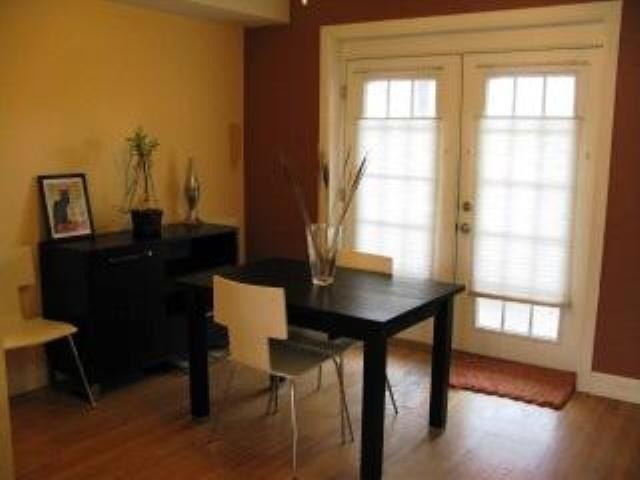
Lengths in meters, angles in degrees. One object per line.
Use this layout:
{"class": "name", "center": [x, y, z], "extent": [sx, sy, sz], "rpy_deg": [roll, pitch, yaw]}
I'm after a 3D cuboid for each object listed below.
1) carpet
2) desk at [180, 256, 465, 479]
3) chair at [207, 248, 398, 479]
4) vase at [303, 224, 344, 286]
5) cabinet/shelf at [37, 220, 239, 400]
{"class": "carpet", "center": [1.427, 1.053, 3.994], "extent": [0.602, 0.094, 0.382], "rpy_deg": [4, 11, 36]}
{"class": "desk", "center": [0.054, 0.409, 3.191], "extent": [1.515, 1.095, 1.141], "rpy_deg": [6, 10, 36]}
{"class": "chair", "center": [-0.309, 0.737, 3.818], "extent": [0.919, 1.443, 1.412], "rpy_deg": [5, 8, 37]}
{"class": "vase", "center": [0.011, 0.097, 3.393], "extent": [0.220, 0.371, 0.231], "rpy_deg": [0, -1, 25]}
{"class": "cabinet/shelf", "center": [-1.240, 0.301, 4.135], "extent": [1.064, 0.813, 0.416], "rpy_deg": [-12, 17, -39]}
